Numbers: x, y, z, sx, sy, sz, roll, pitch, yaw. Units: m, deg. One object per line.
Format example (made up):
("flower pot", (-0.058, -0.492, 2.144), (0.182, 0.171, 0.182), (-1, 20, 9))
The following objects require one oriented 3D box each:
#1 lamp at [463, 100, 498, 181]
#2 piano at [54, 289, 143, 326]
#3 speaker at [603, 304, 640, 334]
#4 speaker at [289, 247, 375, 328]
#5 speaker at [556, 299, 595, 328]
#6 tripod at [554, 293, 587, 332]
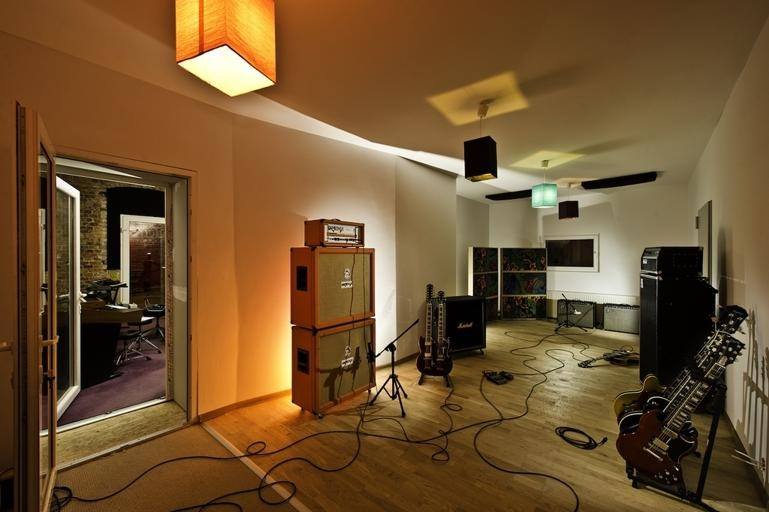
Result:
("lamp", (1.134, -1.336, 6.152), (0.348, 0.842, 0.546), (-1, -2, 12))
("piano", (-3.798, 0.687, 6.858), (0.503, 0.479, 1.467), (-1, -1, 7))
("speaker", (4.509, 1.140, 9.848), (0.465, 0.587, 0.712), (-1, 2, -40))
("speaker", (-0.677, 0.381, 6.379), (0.496, 0.862, 0.985), (-4, -4, 42))
("speaker", (3.776, 1.126, 10.266), (0.492, 0.429, 0.183), (-2, -6, 38))
("tripod", (3.613, 1.161, 10.348), (0.563, 0.776, 0.538), (-3, -2, 37))
